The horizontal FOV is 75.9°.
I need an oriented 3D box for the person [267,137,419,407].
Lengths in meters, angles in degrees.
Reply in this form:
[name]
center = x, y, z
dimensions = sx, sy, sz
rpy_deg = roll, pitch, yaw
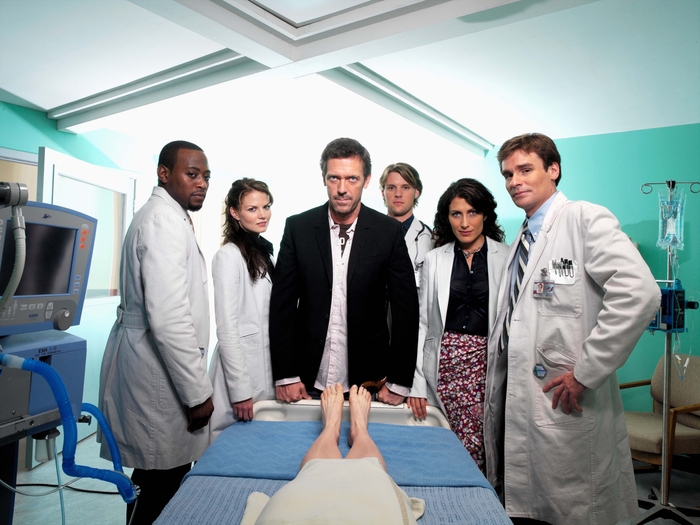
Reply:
[person]
center = -0.030, 0.051, 2.251
dimensions = 0.734, 1.300, 0.297
rpy_deg = 0, -2, -11
